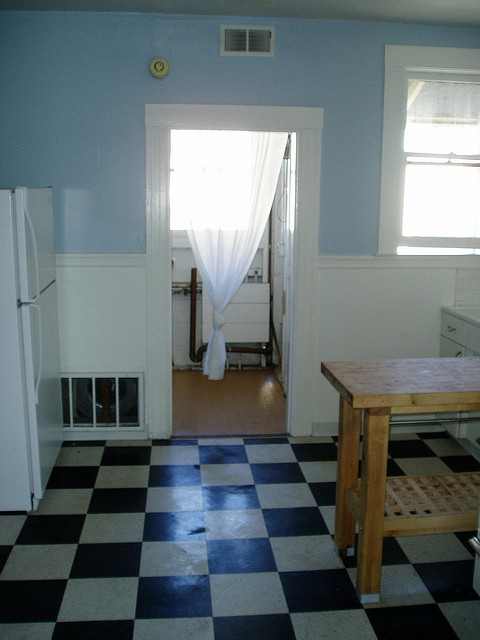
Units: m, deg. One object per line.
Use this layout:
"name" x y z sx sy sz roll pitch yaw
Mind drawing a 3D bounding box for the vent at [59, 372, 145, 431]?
"vent" -0.820 0.491 3.143 0.485 0.364 0.042 0 7 -3
